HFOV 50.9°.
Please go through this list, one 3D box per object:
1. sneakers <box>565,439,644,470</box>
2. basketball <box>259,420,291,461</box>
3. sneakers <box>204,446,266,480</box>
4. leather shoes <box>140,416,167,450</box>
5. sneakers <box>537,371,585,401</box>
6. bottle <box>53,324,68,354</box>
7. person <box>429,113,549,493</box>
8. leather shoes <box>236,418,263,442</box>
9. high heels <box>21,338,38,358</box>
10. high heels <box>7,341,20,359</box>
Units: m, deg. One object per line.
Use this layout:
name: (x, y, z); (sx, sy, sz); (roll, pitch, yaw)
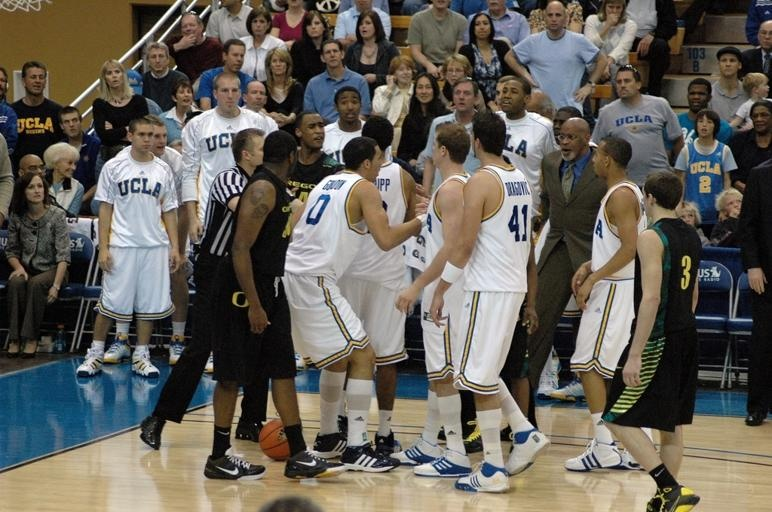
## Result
sneakers: (1.719, 1.620, 6.455); (0.612, 0.285, 0.248); (1, -1, 3)
basketball: (-0.859, 1.463, 6.618); (0.263, 0.344, 0.278); (-7, 8, 2)
sneakers: (-1.141, 1.585, 6.201); (0.485, 0.253, 0.190); (1, 0, -4)
leather shoes: (-1.967, 1.444, 6.753); (0.122, 0.270, 0.265); (2, 26, -28)
sneakers: (1.774, 1.372, 8.546); (0.593, 0.295, 0.219); (4, 3, -11)
bottle: (-4.102, 1.036, 10.224); (0.163, 0.313, 0.350); (-1, 7, -20)
person: (0.799, 0.333, 6.087); (0.850, 2.812, 0.548); (-2, 6, -22)
leather shoes: (-1.193, 1.523, 7.063); (0.329, 0.162, 0.133); (0, -2, 3)
high heels: (-4.321, 1.107, 9.802); (0.207, 0.222, 0.125); (2, 6, 9)
high heels: (-4.537, 1.115, 9.849); (0.099, 0.146, 0.334); (11, 8, -10)
